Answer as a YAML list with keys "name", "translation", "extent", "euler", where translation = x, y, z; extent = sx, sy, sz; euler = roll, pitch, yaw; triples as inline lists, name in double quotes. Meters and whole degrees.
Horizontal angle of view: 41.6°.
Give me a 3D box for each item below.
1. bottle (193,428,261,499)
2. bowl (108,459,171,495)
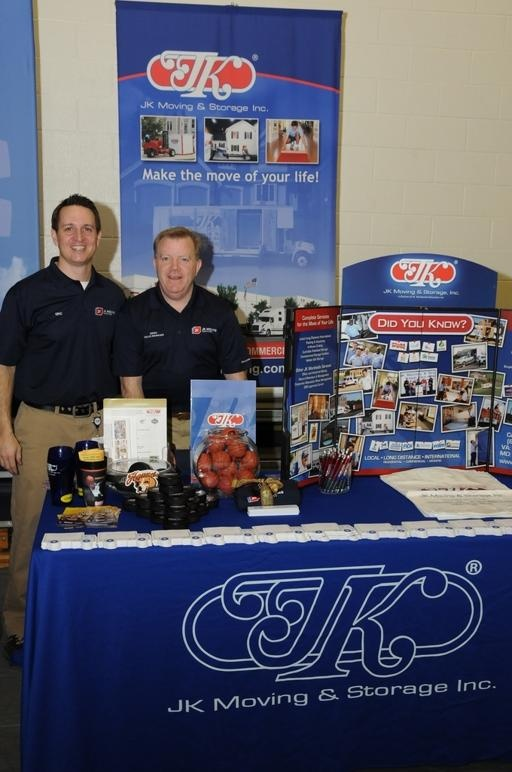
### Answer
- name: "bottle"
  translation: [-0.080, 0.193, 1.766]
  extent: [0.167, 0.158, 0.167]
  euler: [0, 0, -11]
- name: "bowl"
  translation: [-0.313, 0.228, 1.768]
  extent: [0.091, 0.044, 0.103]
  euler: [-2, 3, -40]
